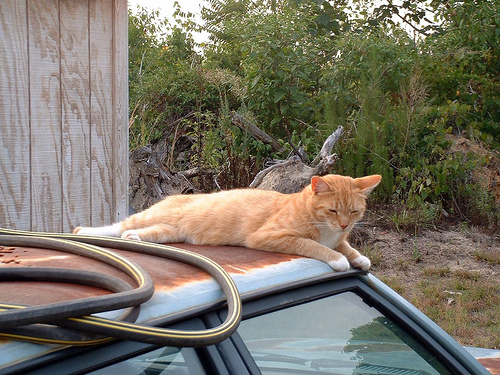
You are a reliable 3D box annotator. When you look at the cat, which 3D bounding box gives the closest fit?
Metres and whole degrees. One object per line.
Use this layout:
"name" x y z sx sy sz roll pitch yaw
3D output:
"cat" 0.006 0.216 2.921 2.025 0.652 0.831 4 -6 -12
